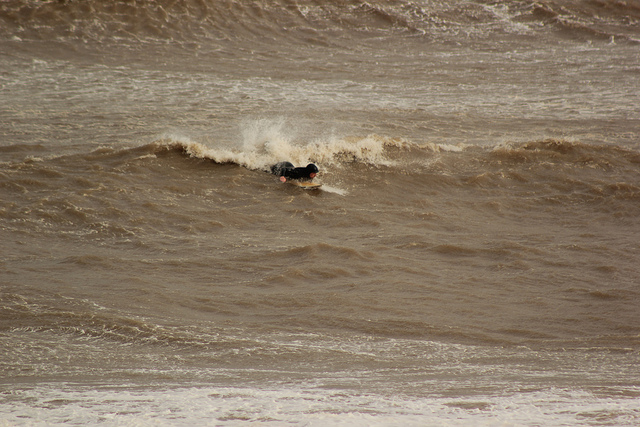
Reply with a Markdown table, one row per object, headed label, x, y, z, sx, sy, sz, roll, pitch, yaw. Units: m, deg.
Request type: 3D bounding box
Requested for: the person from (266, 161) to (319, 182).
| label | x | y | z | sx | sy | sz | roll | pitch | yaw |
| --- | --- | --- | --- | --- | --- | --- | --- | --- | --- |
| person | -0.709 | -1.117 | 25.789 | 1.112 | 0.236 | 0.661 | 10 | 1 | 24 |
